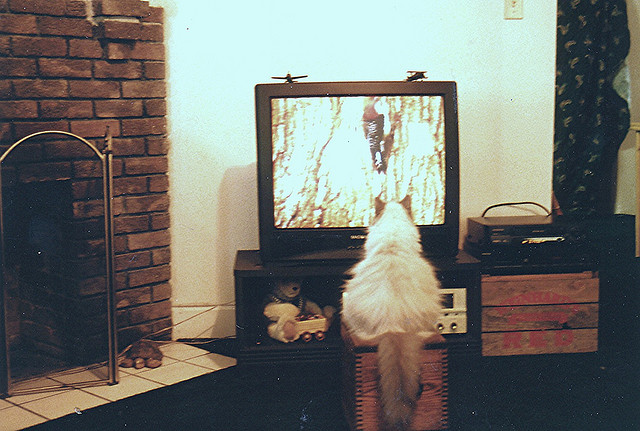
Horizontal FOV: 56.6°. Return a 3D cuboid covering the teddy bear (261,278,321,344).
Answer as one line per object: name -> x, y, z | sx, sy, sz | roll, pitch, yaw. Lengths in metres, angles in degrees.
teddy bear -> -0.136, 0.441, 3.010 | 0.302, 0.340, 0.311 | 4, 2, 23

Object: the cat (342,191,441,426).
cat -> 0.278, 0.476, 2.913 | 0.435, 0.950, 0.510 | -4, -27, 9

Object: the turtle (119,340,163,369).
turtle -> -0.903, 0.716, 3.087 | 0.166, 0.038, 0.139 | 5, 26, -7

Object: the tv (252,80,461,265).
tv -> 0.167, -0.226, 2.921 | 1.167, 0.727, 0.523 | -1, 4, -3
